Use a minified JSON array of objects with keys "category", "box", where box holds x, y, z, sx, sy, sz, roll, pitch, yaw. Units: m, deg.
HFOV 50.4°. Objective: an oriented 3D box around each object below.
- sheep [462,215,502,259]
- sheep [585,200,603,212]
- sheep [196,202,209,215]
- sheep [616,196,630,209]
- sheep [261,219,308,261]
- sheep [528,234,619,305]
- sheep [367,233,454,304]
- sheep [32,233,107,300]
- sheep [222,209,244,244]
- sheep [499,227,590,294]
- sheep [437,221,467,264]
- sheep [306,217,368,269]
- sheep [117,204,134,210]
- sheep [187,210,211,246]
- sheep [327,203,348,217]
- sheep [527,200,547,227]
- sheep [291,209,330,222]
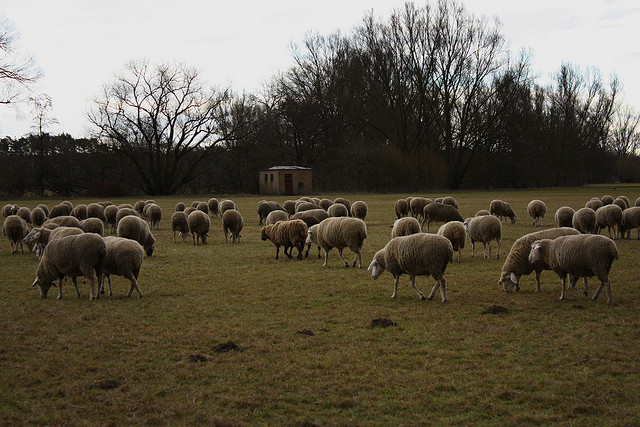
[{"category":"sheep","box":[5.816,0.815,24.436,1.031,1.480,2.183,0,-2,-17]},{"category":"sheep","box":[12.879,-0.406,31.936,0.596,0.882,1.286,2,-1,20]},{"category":"sheep","box":[-6.766,-0.369,39.275,0.506,0.753,0.910,4,25,2]},{"category":"sheep","box":[14.669,-0.562,32.982,0.437,0.776,0.637,4,-12,-14]},{"category":"sheep","box":[-1.372,0.982,25.442,0.769,1.424,2.630,0,-1,-41]},{"category":"sheep","box":[6.970,1.487,18.781,1.205,1.794,2.638,3,-3,-40]},{"category":"sheep","box":[2.585,1.536,19.313,2.721,1.862,1.292,-5,-8,41]},{"category":"sheep","box":[-7.043,1.543,19.296,2.514,1.808,1.193,-6,-6,25]},{"category":"sheep","box":[-3.900,0.518,30.149,0.880,1.400,2.098,1,3,-8]},{"category":"sheep","box":[6.599,1.360,20.097,2.834,1.940,1.275,-3,9,-11]},{"category":"sheep","box":[4.527,0.963,23.337,0.936,1.453,2.534,0,-7,5]},{"category":"sheep","box":[0.521,0.988,23.462,2.530,1.692,1.173,-4,-2,37]},{"category":"sheep","box":[-10.665,-0.421,37.162,0.703,0.333,0.723,-1,-2,15]},{"category":"sheep","box":[-5.286,0.556,29.505,0.895,1.418,2.131,1,3,-11]},{"category":"sheep","box":[0.808,-0.184,32.864,0.975,0.547,0.601,3,3,24]},{"category":"sheep","box":[10.596,-0.038,33.352,0.717,1.222,1.891,2,3,16]},{"category":"sheep","box":[-0.386,0.095,30.404,1.623,0.909,0.550,-3,-5,13]}]
